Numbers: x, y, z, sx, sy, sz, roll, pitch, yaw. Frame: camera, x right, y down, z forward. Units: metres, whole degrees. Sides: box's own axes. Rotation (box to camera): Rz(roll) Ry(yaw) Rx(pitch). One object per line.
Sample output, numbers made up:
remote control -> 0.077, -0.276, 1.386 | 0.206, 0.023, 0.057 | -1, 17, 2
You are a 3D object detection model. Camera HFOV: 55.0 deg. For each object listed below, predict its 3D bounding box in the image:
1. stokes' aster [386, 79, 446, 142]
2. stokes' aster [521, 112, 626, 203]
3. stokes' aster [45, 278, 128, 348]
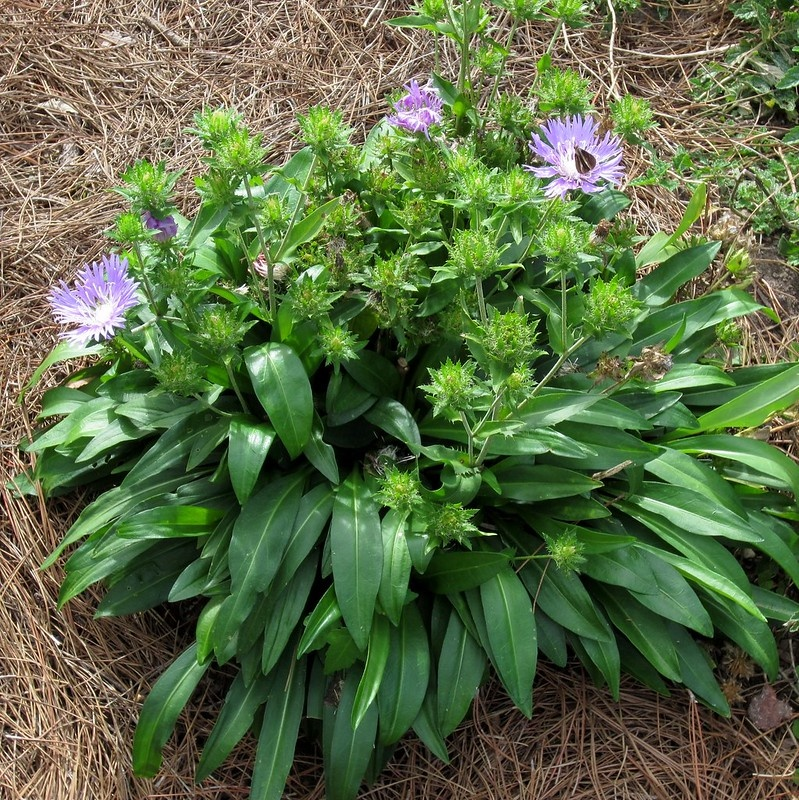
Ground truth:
stokes' aster -> 0.057, -1.063, 2.791 | 0.195, 0.195, 0.281 | 3, 49, 1
stokes' aster -> 0.521, -0.713, 2.274 | 0.252, 0.188, 0.296 | 8, 49, 5
stokes' aster -> -0.875, -0.284, 2.204 | 0.196, 0.071, 0.175 | -18, 38, -6
